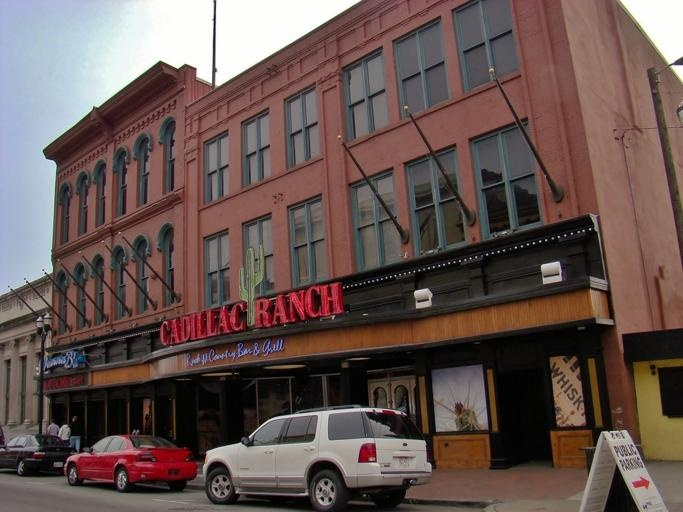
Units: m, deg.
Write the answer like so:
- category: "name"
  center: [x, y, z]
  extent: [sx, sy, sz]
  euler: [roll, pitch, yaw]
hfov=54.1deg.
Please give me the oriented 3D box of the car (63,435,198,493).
- category: "car"
  center: [-7.310, 7.062, 22.642]
  extent: [5.541, 1.918, 2.062]
  euler: [-18, -22, 33]
